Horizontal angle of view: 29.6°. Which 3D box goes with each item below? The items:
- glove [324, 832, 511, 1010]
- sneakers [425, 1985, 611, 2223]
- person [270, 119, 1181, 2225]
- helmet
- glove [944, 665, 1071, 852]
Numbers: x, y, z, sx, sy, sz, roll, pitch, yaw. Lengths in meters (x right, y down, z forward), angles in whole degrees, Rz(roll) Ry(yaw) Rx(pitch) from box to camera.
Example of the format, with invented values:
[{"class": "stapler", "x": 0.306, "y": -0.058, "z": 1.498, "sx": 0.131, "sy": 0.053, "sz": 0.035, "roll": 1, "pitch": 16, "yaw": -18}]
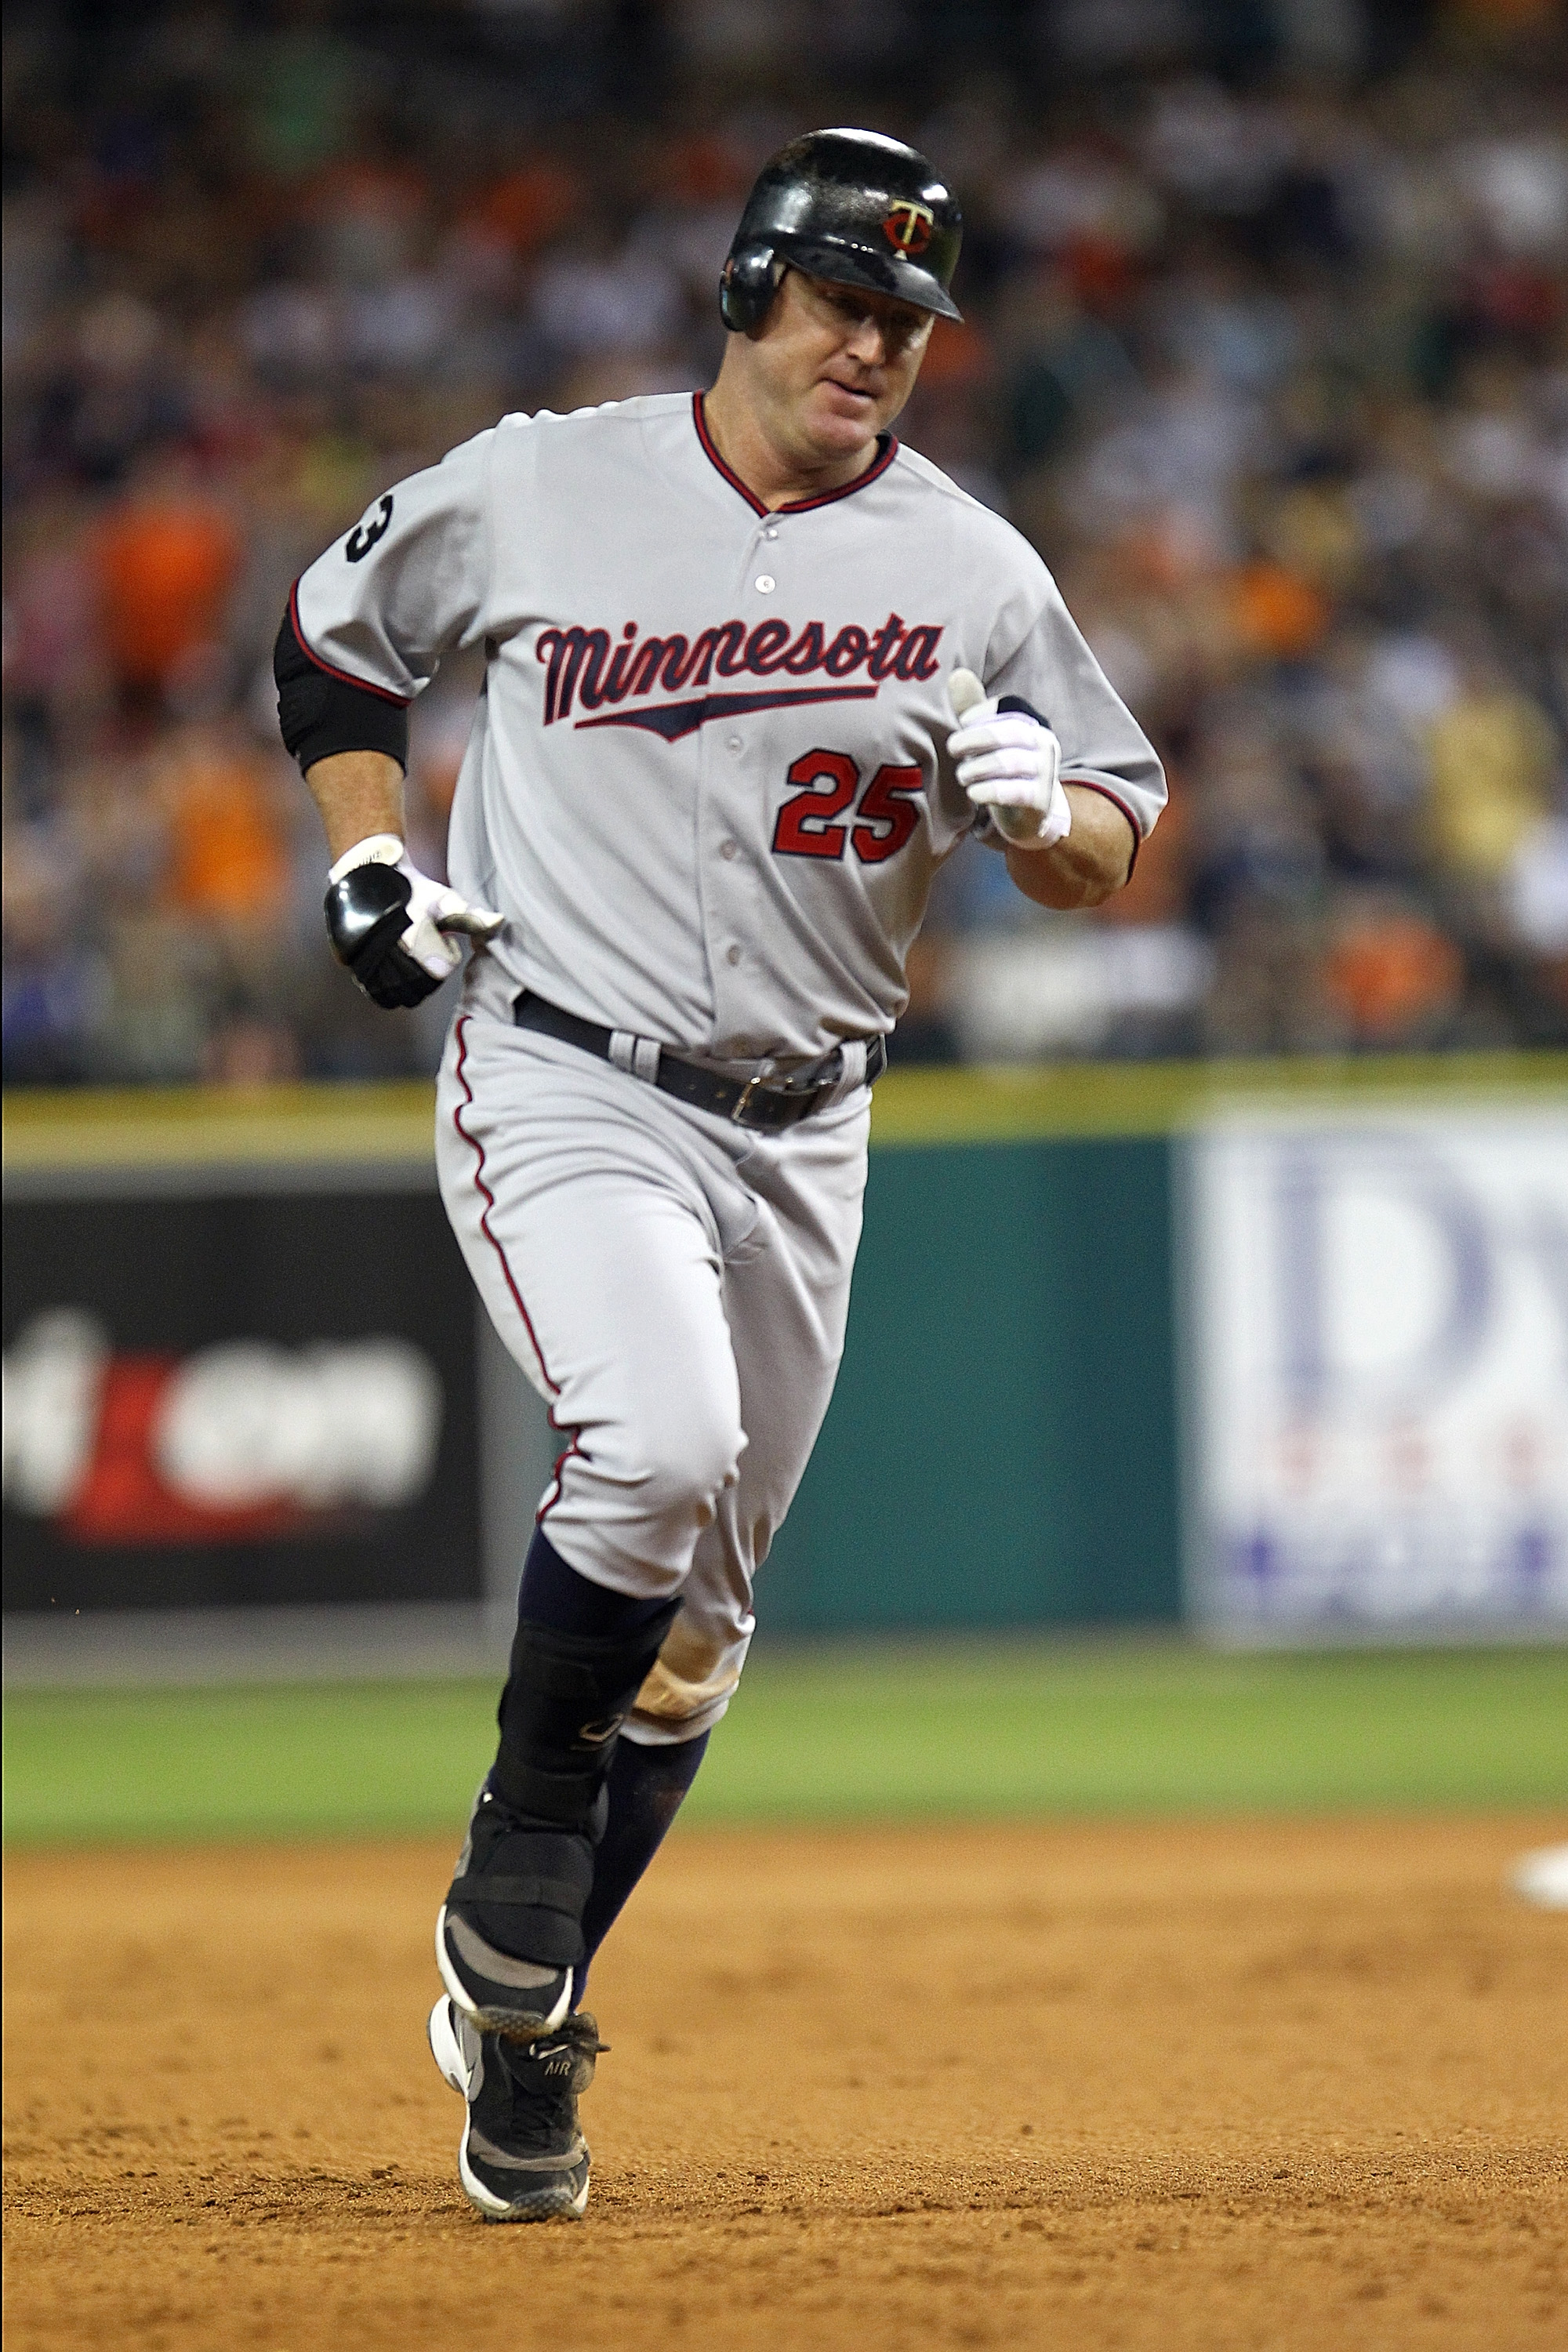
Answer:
[{"class": "glove", "x": -0.379, "y": -0.235, "z": 2.976, "sx": 0.159, "sy": 0.093, "sz": 0.190, "roll": -42, "pitch": 61, "yaw": -14}, {"class": "sneakers", "x": -0.264, "y": 0.946, "z": 2.974, "sx": 0.113, "sy": 0.129, "sz": 0.282, "roll": 10, "pitch": 39, "yaw": -18}, {"class": "person", "x": -0.066, "y": -0.120, "z": 3.000, "sx": 0.879, "sy": 1.916, "sz": 0.482, "roll": 0, "pitch": -3, "yaw": -9}, {"class": "helmet", "x": 0.086, "y": -0.953, "z": 3.021, "sx": 0.216, "sy": 0.180, "sz": 0.252, "roll": 12, "pitch": 4, "yaw": -34}, {"class": "glove", "x": 0.225, "y": -0.401, "z": 2.941, "sx": 0.113, "sy": 0.143, "sz": 0.334, "roll": 0, "pitch": -3, "yaw": 6}]
